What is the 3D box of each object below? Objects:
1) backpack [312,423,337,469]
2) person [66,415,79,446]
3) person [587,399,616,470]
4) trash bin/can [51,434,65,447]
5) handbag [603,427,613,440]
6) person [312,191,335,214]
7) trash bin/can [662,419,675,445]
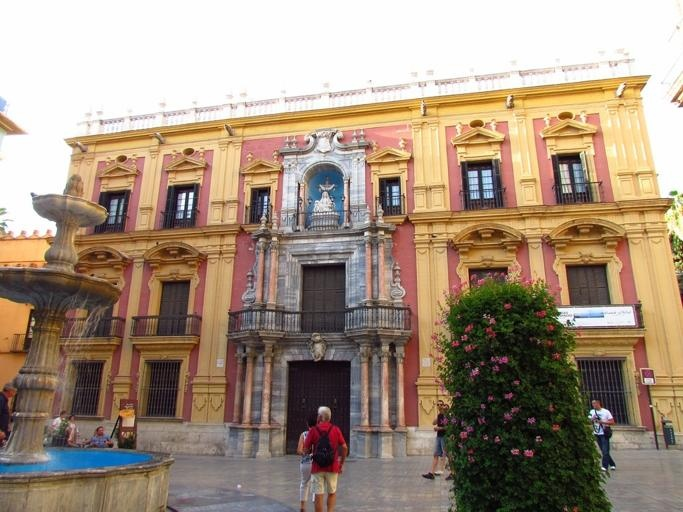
[{"bbox_3d":[-0.313,3.564,10.163,0.516,0.658,0.725,2,-12,-2],"label":"backpack"},{"bbox_3d":[-9.116,5.930,18.388,0.386,0.950,0.809,9,-23,-23],"label":"person"},{"bbox_3d":[7.249,4.877,14.844,0.513,1.842,1.526,-9,-23,23],"label":"person"},{"bbox_3d":[-9.622,6.225,18.310,0.769,0.301,0.249,-17,-26,38],"label":"trash bin/can"},{"bbox_3d":[7.184,4.725,14.453,0.322,0.287,0.154,17,-27,-39],"label":"handbag"},{"bbox_3d":[-0.664,-2.117,21.882,0.877,0.966,0.339,-2,-21,4],"label":"person"},{"bbox_3d":[10.709,5.743,17.589,0.361,0.850,0.192,-6,-22,14],"label":"trash bin/can"}]
